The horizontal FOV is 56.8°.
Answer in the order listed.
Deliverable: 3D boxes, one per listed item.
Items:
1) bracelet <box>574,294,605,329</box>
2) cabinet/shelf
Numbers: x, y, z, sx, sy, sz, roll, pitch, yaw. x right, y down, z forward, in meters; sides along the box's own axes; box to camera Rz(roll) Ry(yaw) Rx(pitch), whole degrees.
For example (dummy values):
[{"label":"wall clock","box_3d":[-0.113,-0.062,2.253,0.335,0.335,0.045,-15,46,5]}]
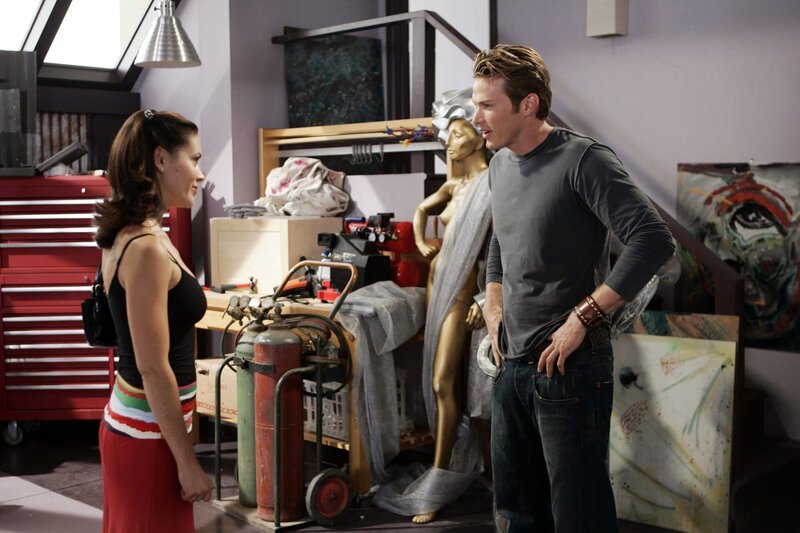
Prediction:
[{"label":"bracelet","box_3d":[0.746,0.172,2.956,0.072,0.103,0.132,-25,14,-10]},{"label":"cabinet/shelf","box_3d":[-0.560,0.624,5.012,1.848,1.247,1.089,3,5,43]}]
